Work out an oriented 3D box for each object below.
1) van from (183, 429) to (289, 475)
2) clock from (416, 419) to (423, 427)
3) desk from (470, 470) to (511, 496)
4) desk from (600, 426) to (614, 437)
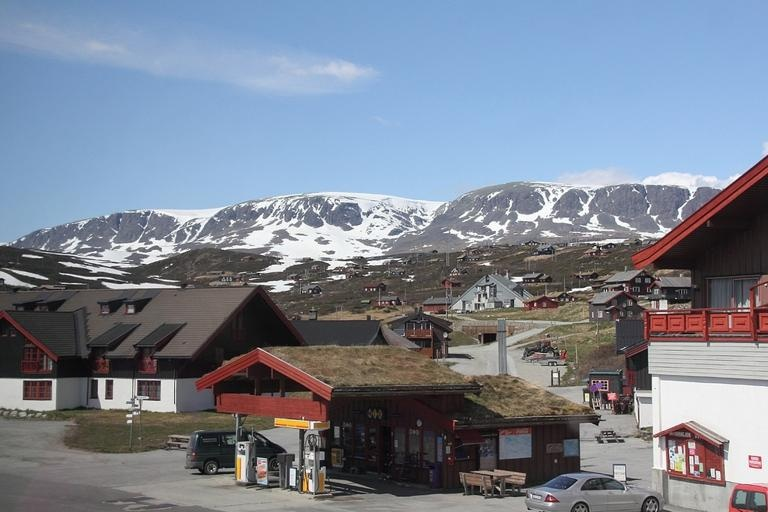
[{"bbox_3d":[-8.875,11.600,63.821,5.659,1.768,2.751,-2,-1,-18],"label":"van"},{"bbox_3d":[1.989,9.486,60.906,0.478,0.463,0.128,-12,-20,41],"label":"clock"},{"bbox_3d":[6.113,12.238,59.094,1.389,0.995,2.365,-1,1,-27],"label":"desk"},{"bbox_3d":[15.780,12.418,75.460,0.916,0.624,1.388,-9,-16,35],"label":"desk"}]
